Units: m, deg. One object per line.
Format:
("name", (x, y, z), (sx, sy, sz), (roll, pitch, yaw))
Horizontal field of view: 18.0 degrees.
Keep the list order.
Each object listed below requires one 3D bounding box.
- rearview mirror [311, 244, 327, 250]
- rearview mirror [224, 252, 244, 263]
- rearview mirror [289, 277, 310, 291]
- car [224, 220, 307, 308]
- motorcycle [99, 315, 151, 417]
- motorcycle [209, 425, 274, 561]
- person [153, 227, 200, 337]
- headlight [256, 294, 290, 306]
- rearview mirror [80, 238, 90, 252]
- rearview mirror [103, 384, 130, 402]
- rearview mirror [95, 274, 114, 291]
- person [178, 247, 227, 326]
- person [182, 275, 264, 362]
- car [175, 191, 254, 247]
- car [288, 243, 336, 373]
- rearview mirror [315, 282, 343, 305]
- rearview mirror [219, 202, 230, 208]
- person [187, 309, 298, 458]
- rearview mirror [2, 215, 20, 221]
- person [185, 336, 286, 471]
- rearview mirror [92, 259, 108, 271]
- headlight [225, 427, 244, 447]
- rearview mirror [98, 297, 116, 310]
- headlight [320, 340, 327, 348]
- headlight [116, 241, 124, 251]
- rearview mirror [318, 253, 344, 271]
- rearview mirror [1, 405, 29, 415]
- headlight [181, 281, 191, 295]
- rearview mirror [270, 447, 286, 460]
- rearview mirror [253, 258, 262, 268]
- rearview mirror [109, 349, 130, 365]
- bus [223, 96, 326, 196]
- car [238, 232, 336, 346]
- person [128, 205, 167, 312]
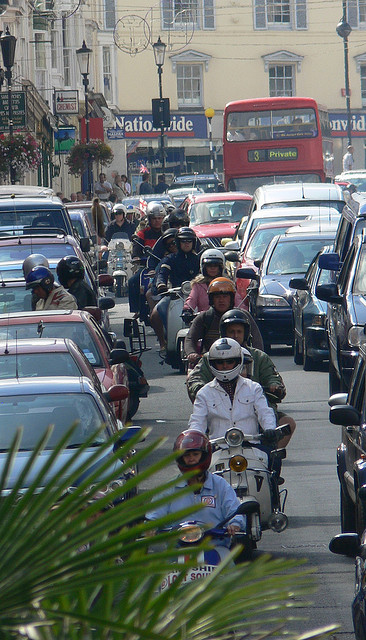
("rearview mirror", (1.970, -1.074, 16.966), (0.067, 0.091, 0.419), (-4, 9, -14))
("rearview mirror", (0.636, -0.785, 14.320), (0.185, 0.096, 0.144), (6, 0, -32))
("rearview mirror", (1.408, -0.446, 14.130), (0.169, 0.187, 0.165), (4, 2, 2))
("car", (1.212, -1.003, 17.858), (0.914, 0.818, 1.545), (0, 4, -1))
("motorcycle", (-0.514, 0.473, 11.295), (0.662, 0.616, 0.974), (-1, 4, 1))
("motorcycle", (0.335, 0.839, 5.802), (0.447, 0.610, 0.850), (-3, 0, 3))
("person", (-0.071, -0.688, 14.127), (0.611, 0.821, 1.146), (-1, 8, -1))
("headlight", (1.224, -0.279, 16.098), (0.538, 0.149, 0.181), (5, 12, 40))
("rearview mirror", (-1.264, -0.968, 14.768), (0.168, 0.205, 0.132), (1, 4, 7))
("rearview mirror", (-0.451, 0.472, 7.549), (0.124, 0.062, 0.103), (-1, 10, 38))
("rearview mirror", (-0.976, -0.486, 14.366), (0.173, 0.165, 0.502), (-2, 9, 1))
("person", (0.183, -0.354, 11.116), (0.396, 0.506, 0.729), (10, 13, -2))
("person", (0.272, -0.007, 9.339), (0.400, 0.593, 0.844), (0, 0, 4))
("car", (0.740, -2.131, 23.957), (0.898, 0.923, 1.979), (-1, 3, -4))
("car", (1.583, -0.036, 14.639), (0.647, 0.848, 1.523), (-1, 3, 3))
("rearview mirror", (1.433, -0.268, 11.401), (0.203, 0.231, 0.215), (7, 10, 10))
("rearview mirror", (0.876, -2.486, 24.948), (0.225, 0.095, 0.062), (-1, 8, 10))
("person", (0.354, 0.302, 7.398), (0.499, 0.726, 1.073), (-3, 0, 1))
("rearview mirror", (-2.253, -1.351, 15.212), (0.229, 0.082, 0.180), (4, 11, 34))
("person", (0.288, 0.468, 6.687), (0.494, 0.780, 0.725), (-5, 6, 0))
("rearview mirror", (-1.185, -0.792, 16.464), (0.160, 0.171, 0.192), (2, 2, -2))
("headlight", (0.269, 0.625, 6.157), (0.102, 0.097, 0.067), (-3, 8, -5))
("rearview mirror", (-0.759, -0.174, 11.516), (0.174, 0.141, 0.169), (-1, 3, -12))
("headlight", (1.695, 0.280, 14.044), (0.078, 0.065, 0.069), (4, -4, -34))
("headlight", (-1.413, -1.654, 25.645), (0.125, 0.192, 0.173), (-8, 4, -19))
("rearview mirror", (1.519, -0.614, 12.082), (0.176, 0.214, 0.205), (3, 2, 1))
("rearview mirror", (-0.960, 0.504, 6.577), (0.151, 0.034, 0.093), (-4, 9, -9))
("headlight", (0.020, -0.380, 13.281), (0.121, 0.143, 0.130), (-1, -1, -3))
("rearview mirror", (0.536, 0.751, 6.528), (0.118, 0.074, 0.113), (2, -10, -7))
("rearview mirror", (1.098, -0.852, 17.152), (0.105, 0.173, 0.047), (1, -13, 6))
("rearview mirror", (-0.505, 0.274, 8.931), (0.115, 0.127, 0.119), (5, -9, -1))
("bus", (2.164, -4.466, 27.930), (1.402, 2.551, 4.526), (-1, 7, 3))
("car", (1.474, -0.490, 16.197), (1.069, 0.933, 1.802), (1, 5, 1))
("person", (-0.579, -1.072, 18.175), (0.704, 0.939, 1.354), (1, 7, 3))
